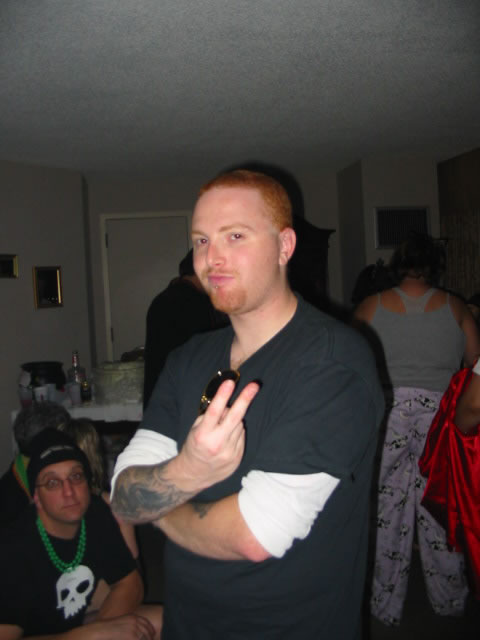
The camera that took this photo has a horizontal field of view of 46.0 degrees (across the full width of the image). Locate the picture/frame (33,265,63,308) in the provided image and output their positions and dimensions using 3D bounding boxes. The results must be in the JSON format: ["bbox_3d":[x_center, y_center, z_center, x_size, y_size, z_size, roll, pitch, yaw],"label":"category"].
[{"bbox_3d":[-1.609,-0.282,4.733,0.315,0.326,0.036,-1,3,28],"label":"picture/frame"}]

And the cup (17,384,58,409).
[{"bbox_3d":[-1.145,0.425,3.195,0.256,0.152,0.149,-4,-5,2],"label":"cup"}]

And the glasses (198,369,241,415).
[{"bbox_3d":[-0.039,0.128,1.084,0.053,0.104,0.026,28,3,-8],"label":"glasses"}]

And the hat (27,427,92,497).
[{"bbox_3d":[-0.717,0.554,2.225,0.184,0.209,0.233,2,-42,-18],"label":"hat"}]
